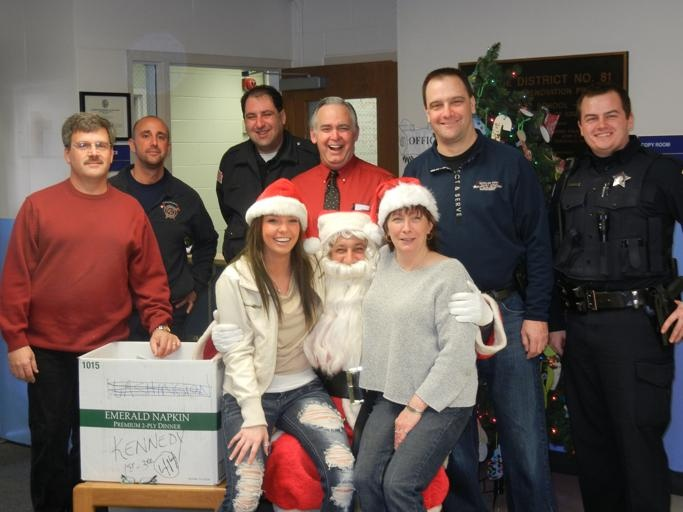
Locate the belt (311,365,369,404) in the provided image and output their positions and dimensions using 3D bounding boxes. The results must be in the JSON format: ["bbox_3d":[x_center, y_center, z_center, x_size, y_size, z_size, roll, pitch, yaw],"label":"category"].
[{"bbox_3d":[-0.017,0.621,2.928,0.178,0.190,0.050,0,9,36],"label":"belt"}]

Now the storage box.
[{"bbox_3d":[-0.902,0.761,3.084,0.697,0.586,0.525,1,1,-2],"label":"storage box"}]

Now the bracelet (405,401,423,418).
[{"bbox_3d":[0.317,0.652,2.595,0.060,0.049,0.078,1,-14,0],"label":"bracelet"}]

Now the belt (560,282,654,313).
[{"bbox_3d":[1.299,0.209,2.974,0.399,0.130,0.054,0,7,23],"label":"belt"}]

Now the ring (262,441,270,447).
[{"bbox_3d":[-0.339,0.830,2.725,0.025,0.025,0.027,-7,1,0],"label":"ring"}]

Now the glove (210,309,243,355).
[{"bbox_3d":[-0.528,0.351,2.798,0.149,0.203,0.091,5,-8,5],"label":"glove"}]

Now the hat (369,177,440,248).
[{"bbox_3d":[0.277,-0.220,2.913,0.267,0.313,0.345,-10,7,-44],"label":"hat"}]

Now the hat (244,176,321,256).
[{"bbox_3d":[-0.276,-0.218,2.932,0.297,0.267,0.407,6,-16,5],"label":"hat"}]

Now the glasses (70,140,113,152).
[{"bbox_3d":[-1.295,-0.572,3.184,0.178,0.049,0.064,-5,7,-22],"label":"glasses"}]

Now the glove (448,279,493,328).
[{"bbox_3d":[0.552,0.196,2.667,0.195,0.196,0.053,47,26,14],"label":"glove"}]

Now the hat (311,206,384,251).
[{"bbox_3d":[0.037,-0.128,2.992,0.232,0.148,0.293,0,-1,0],"label":"hat"}]
